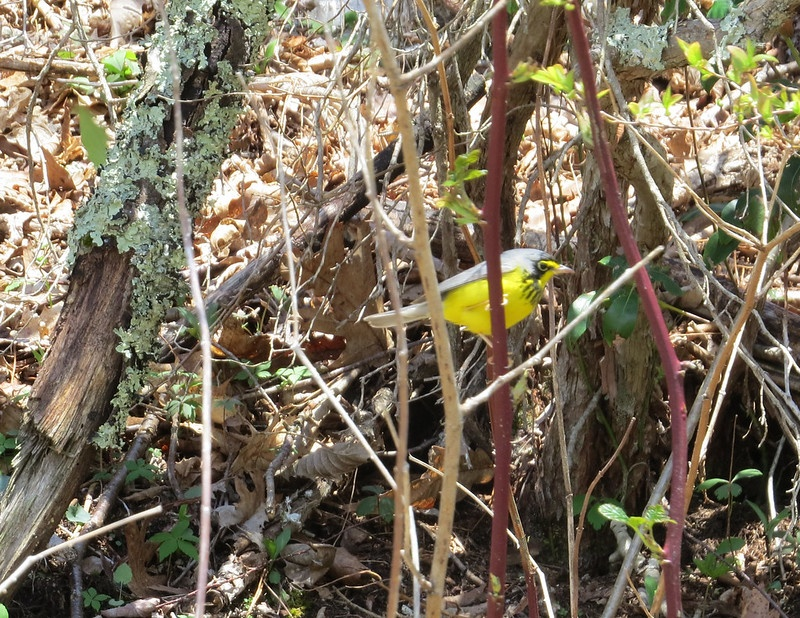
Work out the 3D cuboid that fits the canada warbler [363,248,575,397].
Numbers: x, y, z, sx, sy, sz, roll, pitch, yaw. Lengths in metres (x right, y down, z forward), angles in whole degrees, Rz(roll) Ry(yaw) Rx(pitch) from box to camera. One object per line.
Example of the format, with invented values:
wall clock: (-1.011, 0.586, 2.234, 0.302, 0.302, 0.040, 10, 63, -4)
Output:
canada warbler: (0.304, -0.052, 3.909, 0.976, 0.457, 0.315, 0, -19, 12)
